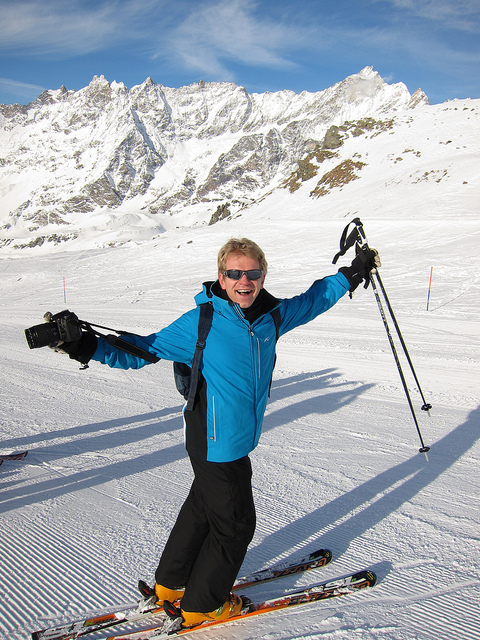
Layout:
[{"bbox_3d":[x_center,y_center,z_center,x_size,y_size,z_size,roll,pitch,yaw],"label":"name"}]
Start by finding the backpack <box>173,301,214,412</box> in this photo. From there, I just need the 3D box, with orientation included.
[{"bbox_3d":[-0.247,0.192,2.706,0.193,0.568,0.203,8,11,39],"label":"backpack"}]

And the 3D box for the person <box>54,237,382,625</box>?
[{"bbox_3d":[-0.021,0.627,2.920,1.482,2.139,0.646,-7,12,-40],"label":"person"}]

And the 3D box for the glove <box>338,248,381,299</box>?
[{"bbox_3d":[0.827,-0.334,3.637,0.391,0.297,0.153,-32,11,-27],"label":"glove"}]

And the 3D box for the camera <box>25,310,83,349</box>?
[{"bbox_3d":[-0.968,0.057,2.600,0.237,0.145,0.258,-15,2,38],"label":"camera"}]
